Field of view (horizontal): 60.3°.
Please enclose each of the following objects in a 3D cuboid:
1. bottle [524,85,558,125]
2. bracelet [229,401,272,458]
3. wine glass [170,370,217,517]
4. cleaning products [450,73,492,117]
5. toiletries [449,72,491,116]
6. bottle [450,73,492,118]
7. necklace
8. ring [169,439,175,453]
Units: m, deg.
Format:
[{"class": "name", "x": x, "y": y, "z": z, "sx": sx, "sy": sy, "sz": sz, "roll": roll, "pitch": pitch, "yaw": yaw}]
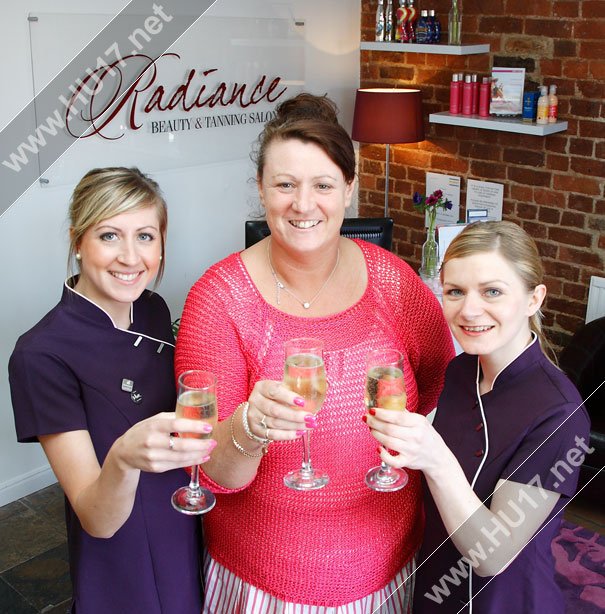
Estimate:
[{"class": "bottle", "x": 1.576, "y": -1.312, "z": 3.388, "sx": 0.138, "sy": 0.280, "sz": 0.182, "roll": 5, "pitch": 11, "yaw": 35}, {"class": "bracelet", "x": -0.087, "y": 0.199, "z": 0.822, "sx": 0.070, "sy": 0.088, "sz": 0.034, "roll": -2, "pitch": 14, "yaw": 4}, {"class": "wine glass", "x": -0.164, "y": 0.213, "z": 0.813, "sx": 0.087, "sy": 0.227, "sz": 0.082, "roll": 1, "pitch": 21, "yaw": -13}, {"class": "cleaning products", "x": 1.192, "y": -1.486, "z": 3.685, "sx": 0.325, "sy": 0.306, "sz": 0.182, "roll": 10, "pitch": 13, "yaw": 39}, {"class": "toiletries", "x": 1.190, "y": -1.497, "z": 3.691, "sx": 0.332, "sy": 0.313, "sz": 0.185, "roll": 9, "pitch": 11, "yaw": 37}, {"class": "bottle", "x": 1.192, "y": -1.485, "z": 3.684, "sx": 0.329, "sy": 0.309, "sz": 0.184, "roll": 11, "pitch": 13, "yaw": 43}, {"class": "necklace", "x": -0.004, "y": -0.060, "z": 1.049, "sx": 0.107, "sy": 0.133, "sz": 0.033, "roll": -1, "pitch": -1, "yaw": 0}, {"class": "ring", "x": -0.180, "y": 0.191, "z": 0.723, "sx": 0.010, "sy": 0.014, "sz": 0.004, "roll": 8, "pitch": 5, "yaw": 27}]
